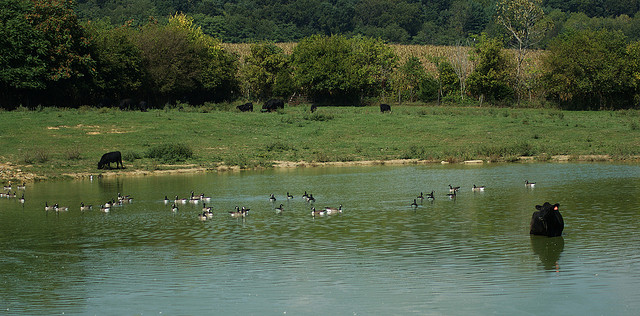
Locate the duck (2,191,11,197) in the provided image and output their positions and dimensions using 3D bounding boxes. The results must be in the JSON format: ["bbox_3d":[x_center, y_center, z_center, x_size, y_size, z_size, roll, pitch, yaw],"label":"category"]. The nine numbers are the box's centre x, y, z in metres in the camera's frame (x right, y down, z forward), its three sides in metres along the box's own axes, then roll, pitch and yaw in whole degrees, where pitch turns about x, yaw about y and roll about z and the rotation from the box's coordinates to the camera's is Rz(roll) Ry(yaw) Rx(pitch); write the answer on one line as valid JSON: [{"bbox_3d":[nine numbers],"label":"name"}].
[{"bbox_3d":[-53.183,5.940,184.446,0.568,0.979,1.090,-2,0,30],"label":"duck"}]

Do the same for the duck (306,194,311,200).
[{"bbox_3d":[-2.003,6.290,181.246,0.654,0.892,0.937,2,-2,5],"label":"duck"}]

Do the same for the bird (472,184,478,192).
[{"bbox_3d":[26.190,4.927,183.509,0.837,1.002,0.878,-4,5,6],"label":"bird"}]

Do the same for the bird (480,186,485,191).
[{"bbox_3d":[27.460,4.991,183.507,0.533,0.679,1.093,0,6,44],"label":"bird"}]

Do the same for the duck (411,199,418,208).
[{"bbox_3d":[15.509,7.425,177.946,1.093,1.307,0.926,-2,-9,2],"label":"duck"}]
